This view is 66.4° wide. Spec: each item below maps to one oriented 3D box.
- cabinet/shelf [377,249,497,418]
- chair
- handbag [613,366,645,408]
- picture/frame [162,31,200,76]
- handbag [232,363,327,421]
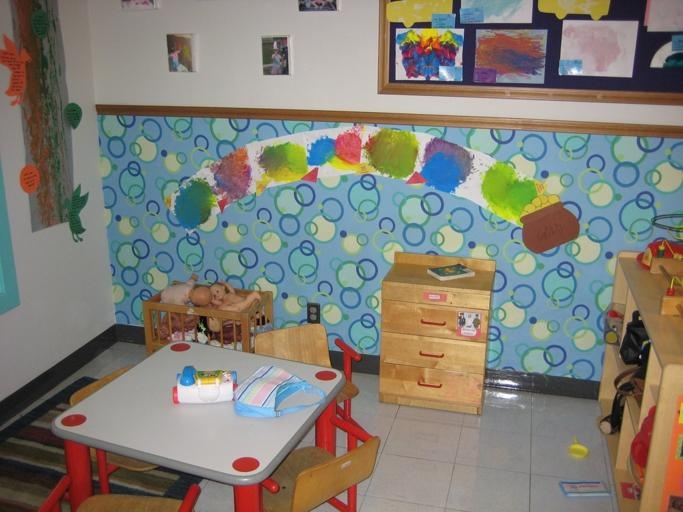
[{"bbox_3d":[0.654,0.536,3.525,0.919,1.254,0.637,3,14,14],"label":"cabinet/shelf"},{"bbox_3d":[-0.624,0.762,2.423,1.005,0.780,1.002,6,15,21],"label":"chair"},{"bbox_3d":[1.564,0.709,2.895,0.194,0.195,0.139,-6,12,-5],"label":"handbag"},{"bbox_3d":[-1.155,-1.471,3.781,0.280,0.316,0.015,10,28,15],"label":"picture/frame"},{"bbox_3d":[-0.312,0.639,2.466,0.257,0.082,0.211,6,15,14],"label":"handbag"}]
